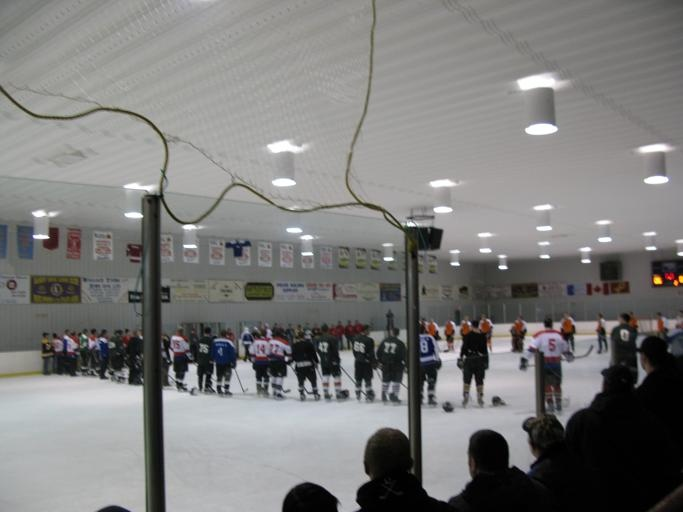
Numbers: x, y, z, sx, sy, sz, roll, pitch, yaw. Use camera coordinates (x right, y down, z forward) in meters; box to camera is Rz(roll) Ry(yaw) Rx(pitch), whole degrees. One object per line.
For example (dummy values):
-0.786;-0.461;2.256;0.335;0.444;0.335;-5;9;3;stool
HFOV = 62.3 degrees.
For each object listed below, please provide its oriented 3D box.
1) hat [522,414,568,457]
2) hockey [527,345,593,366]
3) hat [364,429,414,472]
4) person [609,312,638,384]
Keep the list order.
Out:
1.199;1.037;3.448;0.213;0.283;0.278;-10;1;10;hat
2.516;1.157;6.564;1.309;0.249;0.148;10;20;-47;hockey
0.222;0.953;2.745;0.211;0.277;0.205;-1;7;1;hat
3.801;1.261;7.573;0.314;1.120;0.317;-3;13;24;person
